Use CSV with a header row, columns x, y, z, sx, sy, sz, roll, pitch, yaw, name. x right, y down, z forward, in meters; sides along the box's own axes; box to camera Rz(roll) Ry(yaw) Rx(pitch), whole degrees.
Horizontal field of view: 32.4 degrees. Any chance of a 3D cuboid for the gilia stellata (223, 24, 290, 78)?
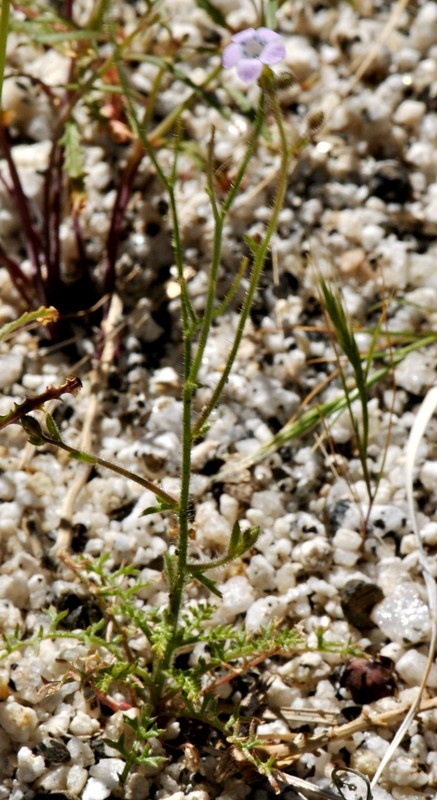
x,y,z,sx,sy,sz,roll,pitch,yaw,name
0.037,-0.346,0.776,0.055,0.022,0.055,3,-23,16,gilia stellata
